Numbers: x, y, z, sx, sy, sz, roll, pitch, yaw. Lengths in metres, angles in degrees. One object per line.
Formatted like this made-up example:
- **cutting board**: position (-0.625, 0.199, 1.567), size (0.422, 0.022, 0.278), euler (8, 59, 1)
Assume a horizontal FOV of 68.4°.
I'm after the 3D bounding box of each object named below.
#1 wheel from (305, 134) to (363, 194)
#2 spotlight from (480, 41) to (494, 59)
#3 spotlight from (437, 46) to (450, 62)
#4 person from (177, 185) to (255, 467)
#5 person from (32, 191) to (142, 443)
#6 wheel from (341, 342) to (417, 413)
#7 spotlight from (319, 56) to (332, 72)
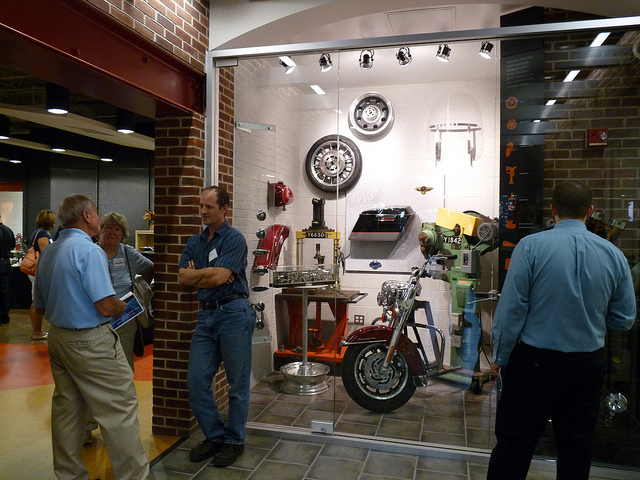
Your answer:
- **wheel**: position (0.105, -0.674, 4.252), size (0.498, 0.538, 0.512), euler (0, -10, 0)
- **spotlight**: position (1.378, -1.538, 3.867), size (0.097, 0.112, 0.107), euler (29, 11, -7)
- **spotlight**: position (1.034, -1.534, 3.933), size (0.072, 0.099, 0.097), euler (-3, 27, 0)
- **person**: position (-0.830, 0.682, 3.751), size (0.580, 2.177, 0.423), euler (0, 7, -2)
- **person**: position (-1.625, 0.560, 3.269), size (0.721, 1.713, 0.343), euler (1, 7, 8)
- **wheel**: position (0.523, 1.155, 4.021), size (0.580, 0.620, 0.200), euler (1, -2, 5)
- **spotlight**: position (0.053, -1.522, 4.139), size (0.088, 0.127, 0.114), euler (-1, 4, 7)
